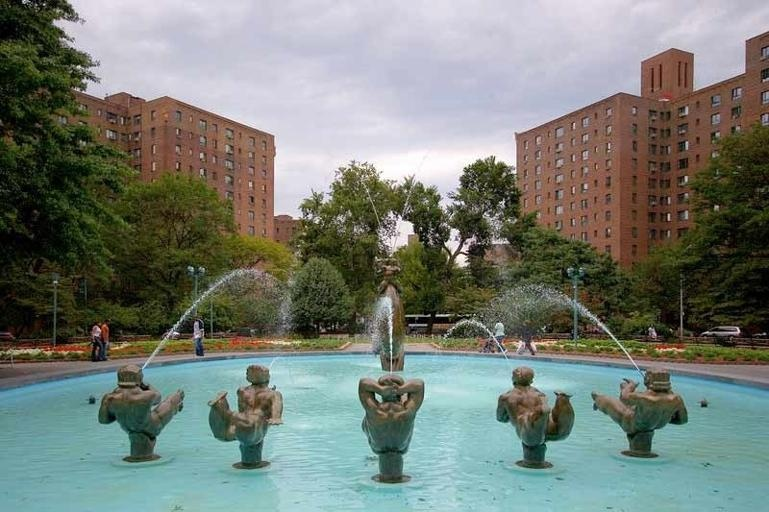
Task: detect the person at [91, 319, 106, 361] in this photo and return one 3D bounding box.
[{"bbox_3d":[-12.742,3.760,29.419,0.611,1.575,1.534,-2,6,-24],"label":"person"}]

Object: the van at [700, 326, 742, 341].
[{"bbox_3d":[25.519,5.883,50.290,2.915,0.982,1.338,1,-2,14],"label":"van"}]
